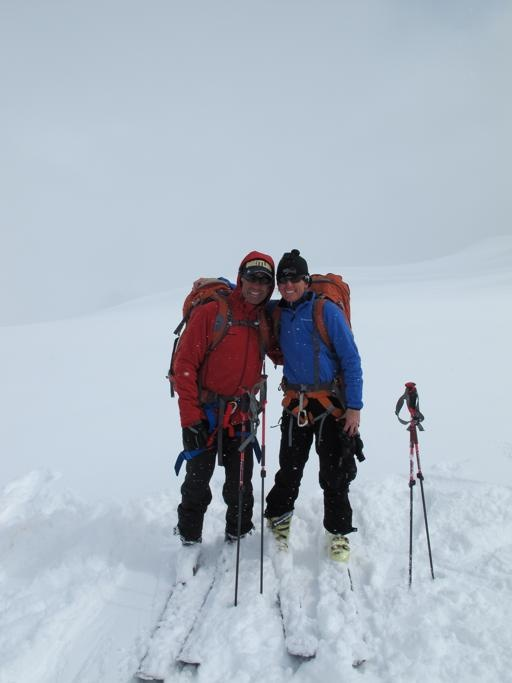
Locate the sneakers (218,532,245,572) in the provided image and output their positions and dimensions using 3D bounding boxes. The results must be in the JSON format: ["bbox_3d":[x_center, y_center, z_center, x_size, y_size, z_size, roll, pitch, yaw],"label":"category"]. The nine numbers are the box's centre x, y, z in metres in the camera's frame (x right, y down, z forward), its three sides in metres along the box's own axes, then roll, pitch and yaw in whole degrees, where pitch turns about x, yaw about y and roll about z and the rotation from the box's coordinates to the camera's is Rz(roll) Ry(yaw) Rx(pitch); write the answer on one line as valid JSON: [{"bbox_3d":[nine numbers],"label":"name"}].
[{"bbox_3d":[-0.251,1.986,6.705,0.148,0.085,0.521,-7,12,9],"label":"sneakers"}]

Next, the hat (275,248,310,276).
[{"bbox_3d":[0.351,-0.722,6.557,0.306,0.258,0.188,0,9,-10],"label":"hat"}]

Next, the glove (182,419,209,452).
[{"bbox_3d":[-0.547,0.861,6.409,0.228,0.315,0.164,1,9,-7],"label":"glove"}]

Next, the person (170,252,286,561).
[{"bbox_3d":[-0.343,0.540,6.661,0.898,2.759,0.542,-3,11,-28],"label":"person"}]
